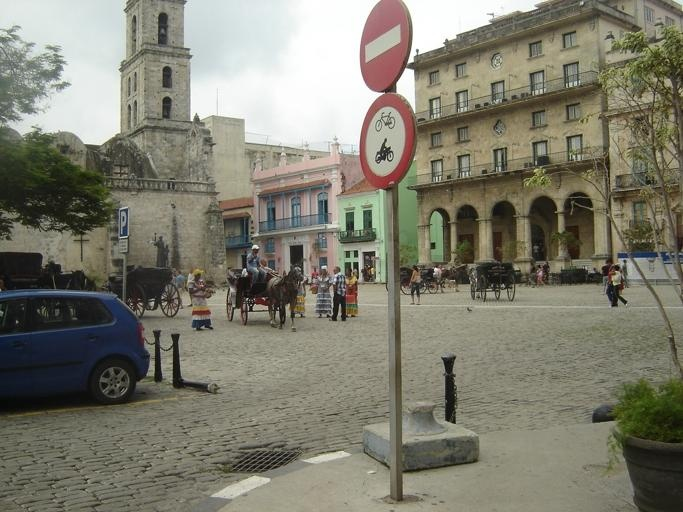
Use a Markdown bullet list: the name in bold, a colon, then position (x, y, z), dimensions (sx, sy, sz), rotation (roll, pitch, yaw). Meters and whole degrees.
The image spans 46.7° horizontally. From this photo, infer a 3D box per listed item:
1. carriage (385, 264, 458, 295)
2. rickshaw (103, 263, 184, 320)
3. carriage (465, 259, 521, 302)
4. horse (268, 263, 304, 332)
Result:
- **carriage**: position (3.914, 1.151, 36.404), dimensions (2.335, 1.062, 1.376), rotation (-5, 5, -31)
- **rickshaw**: position (-7.182, 1.186, 28.372), dimensions (1.596, 1.515, 2.598), rotation (-1, 7, -38)
- **carriage**: position (6.744, 1.143, 34.232), dimensions (1.423, 1.553, 2.753), rotation (-2, -3, 11)
- **horse**: position (-1.702, 1.301, 23.933), dimensions (0.789, 1.888, 1.761), rotation (-1, -4, -22)
